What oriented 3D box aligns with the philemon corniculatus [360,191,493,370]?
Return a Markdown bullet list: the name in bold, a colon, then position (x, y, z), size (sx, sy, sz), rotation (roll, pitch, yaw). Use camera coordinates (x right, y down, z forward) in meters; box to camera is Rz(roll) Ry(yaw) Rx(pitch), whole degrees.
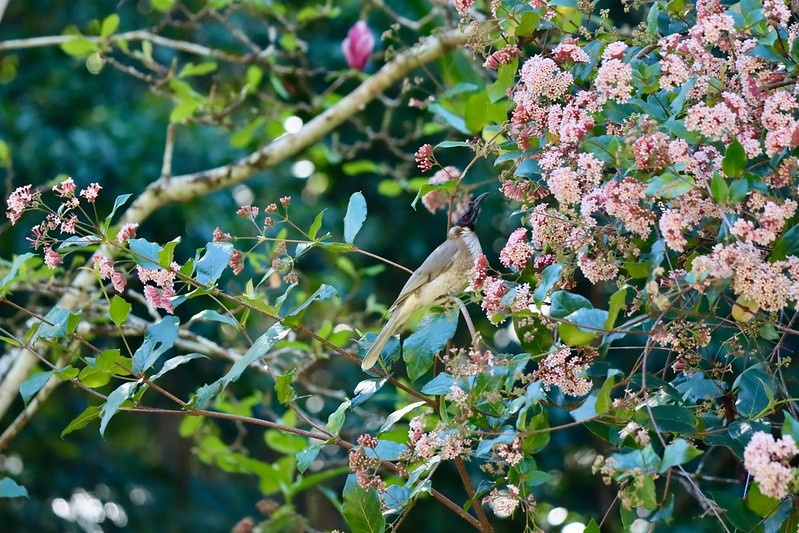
- **philemon corniculatus**: position (0.121, 0.066, 4.915), size (0.226, 0.859, 0.477), rotation (21, 48, -53)
